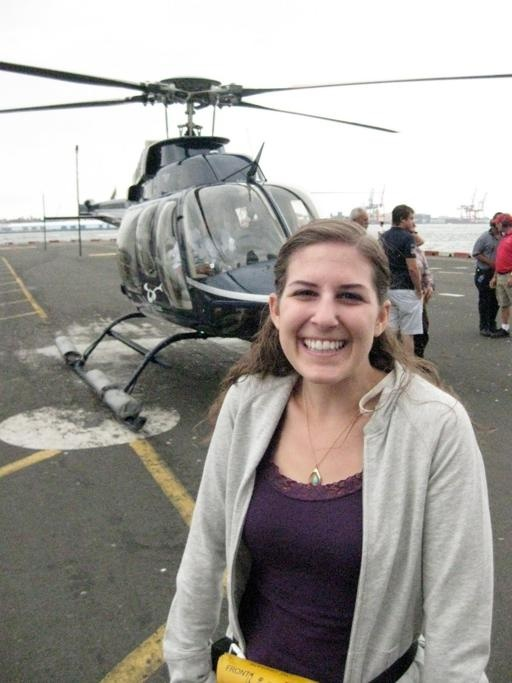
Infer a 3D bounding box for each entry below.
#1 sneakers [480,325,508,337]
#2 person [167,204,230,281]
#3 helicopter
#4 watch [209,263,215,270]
[{"bbox_3d":[3.721,-0.125,9.113,0.119,0.135,0.342,-5,3,-44],"label":"sneakers"},{"bbox_3d":[-0.588,-0.973,5.930,0.467,0.812,0.202,-13,-2,18],"label":"person"},{"bbox_3d":[-0.484,-1.295,7.044,4.556,2.305,5.351,-7,19,-29],"label":"helicopter"},{"bbox_3d":[-0.444,-0.752,5.843,0.066,0.059,0.018,3,-4,-8],"label":"watch"}]
